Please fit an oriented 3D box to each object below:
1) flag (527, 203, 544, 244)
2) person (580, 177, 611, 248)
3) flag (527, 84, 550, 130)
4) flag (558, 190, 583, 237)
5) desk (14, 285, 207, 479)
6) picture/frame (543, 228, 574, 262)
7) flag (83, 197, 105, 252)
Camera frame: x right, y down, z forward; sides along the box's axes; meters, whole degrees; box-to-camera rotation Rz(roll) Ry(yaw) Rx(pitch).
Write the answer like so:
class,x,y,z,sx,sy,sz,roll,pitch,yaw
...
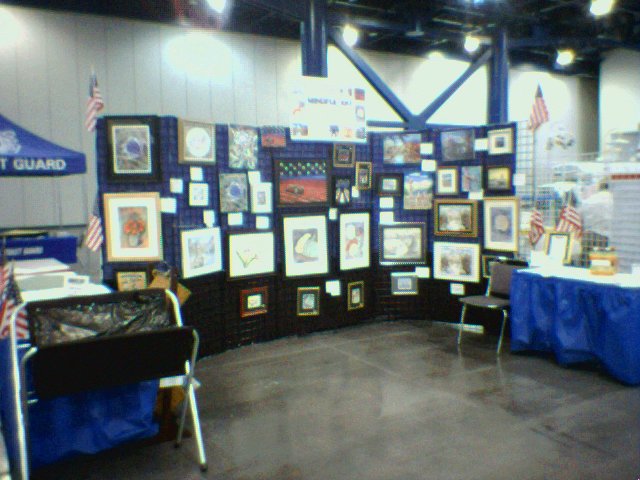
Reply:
class,x,y,z,sx,sy,sz,roll,pitch,yaw
flag,2.899,-0.180,7.317,0.178,0.564,0.554,3,13,18
person,3.590,-0.315,7.145,0.387,0.996,0.114,0,24,21
flag,2.844,-1.732,7.096,0.218,0.613,1.308,4,13,22
flag,3.209,-0.325,6.966,0.286,0.574,1.246,5,14,25
desk,-1.635,0.939,4.509,1.563,1.510,1.298,-5,20,-25
picture/frame,2.828,0.055,6.476,0.382,0.546,0.071,-3,-22,35
flag,-2.647,-0.187,6.380,0.215,0.200,0.898,-19,-24,-28
